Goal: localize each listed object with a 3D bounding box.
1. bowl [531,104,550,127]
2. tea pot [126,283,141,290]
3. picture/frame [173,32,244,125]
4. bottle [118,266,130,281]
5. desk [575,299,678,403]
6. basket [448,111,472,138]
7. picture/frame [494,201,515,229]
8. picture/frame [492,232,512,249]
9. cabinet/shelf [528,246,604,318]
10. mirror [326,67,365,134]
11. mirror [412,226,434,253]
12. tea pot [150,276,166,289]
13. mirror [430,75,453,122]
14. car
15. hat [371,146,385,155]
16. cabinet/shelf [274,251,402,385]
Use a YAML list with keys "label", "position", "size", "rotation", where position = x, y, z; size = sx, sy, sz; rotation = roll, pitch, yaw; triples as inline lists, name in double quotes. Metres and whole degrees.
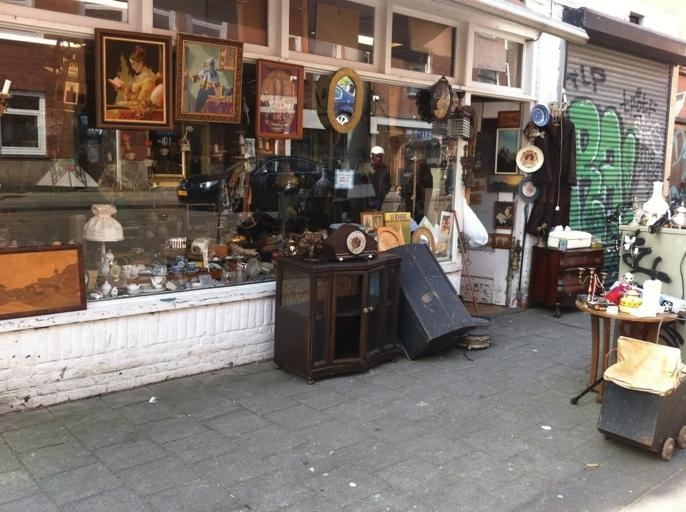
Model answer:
- label: "bowl"
  position: [3.284, -2.337, 9.111]
  size: [0.316, 0.371, 0.209]
  rotation: [4, 14, 7]
- label: "tea pot"
  position: [-2.289, 0.345, 6.027]
  size: [0.071, 0.054, 0.093]
  rotation: [3, 1, 36]
- label: "picture/frame"
  position: [-1.521, -2.018, 6.136]
  size: [1.034, 1.119, 0.104]
  rotation: [-7, 14, -43]
- label: "bottle"
  position: [-2.369, 0.194, 6.033]
  size: [0.101, 0.151, 0.067]
  rotation: [-4, 15, -26]
- label: "desk"
  position: [3.151, 1.044, 6.237]
  size: [0.960, 1.127, 1.445]
  rotation: [12, 17, 35]
- label: "basket"
  position: [1.853, -2.042, 8.564]
  size: [0.433, 0.407, 0.162]
  rotation: [-7, 16, -33]
- label: "picture/frame"
  position: [2.806, -0.705, 9.490]
  size: [0.403, 0.567, 0.056]
  rotation: [9, 14, 31]
- label: "picture/frame"
  position: [2.780, -0.260, 9.513]
  size: [0.273, 0.236, 0.042]
  rotation: [3, 5, 33]
- label: "cabinet/shelf"
  position: [3.572, 0.393, 8.825]
  size: [1.009, 0.987, 0.598]
  rotation: [-7, 14, -33]
- label: "mirror"
  position: [0.017, -2.103, 7.278]
  size: [0.123, 1.088, 0.785]
  rotation: [13, 18, 41]
- label: "mirror"
  position: [1.174, -0.232, 8.097]
  size: [0.402, 0.564, 0.056]
  rotation: [-1, 1, -35]
- label: "tea pot"
  position: [-2.069, 0.307, 6.203]
  size: [0.136, 0.123, 0.144]
  rotation: [2, 0, 0]
- label: "mirror"
  position: [1.456, -2.351, 8.123]
  size: [0.611, 0.745, 0.097]
  rotation: [-14, 22, -38]
- label: "car"
  position: [-0.906, -0.794, 6.979]
  size: [2.024, 0.633, 0.874]
  rotation: [0, 6, -21]
- label: "hat"
  position: [0.502, -1.503, 7.803]
  size: [0.118, 0.093, 0.156]
  rotation: [1, -4, -6]
- label: "cabinet/shelf"
  position: [0.022, 0.714, 6.748]
  size: [1.482, 1.404, 0.862]
  rotation: [-4, 10, -41]
